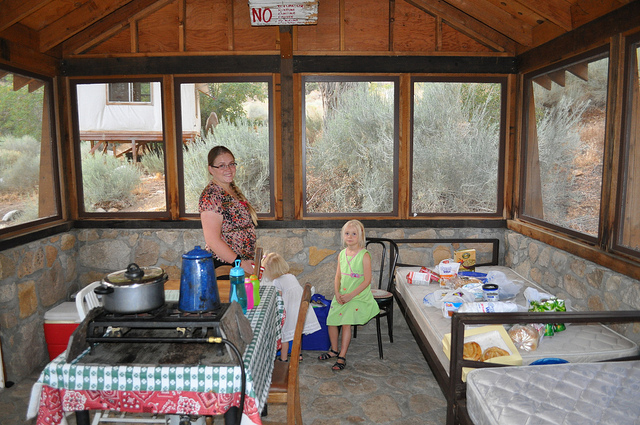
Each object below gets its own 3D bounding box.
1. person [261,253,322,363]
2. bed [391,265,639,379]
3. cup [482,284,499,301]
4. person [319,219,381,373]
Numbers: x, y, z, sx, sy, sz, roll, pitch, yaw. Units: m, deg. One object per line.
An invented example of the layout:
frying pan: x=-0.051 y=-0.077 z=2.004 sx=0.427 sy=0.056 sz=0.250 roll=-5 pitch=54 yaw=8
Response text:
person: x=-0.331 y=0.787 z=4.080 sx=0.511 sy=0.805 sz=0.314 roll=0 pitch=20 yaw=6
bed: x=1.605 y=0.816 z=3.729 sx=1.606 sy=0.510 sz=1.625 roll=-1 pitch=8 yaw=-4
cup: x=1.395 y=0.667 z=3.668 sx=0.123 sy=0.123 sz=0.120 roll=-1 pitch=-6 yaw=0
person: x=0.317 y=0.789 z=4.456 sx=0.584 sy=1.424 sz=0.750 roll=2 pitch=9 yaw=13
